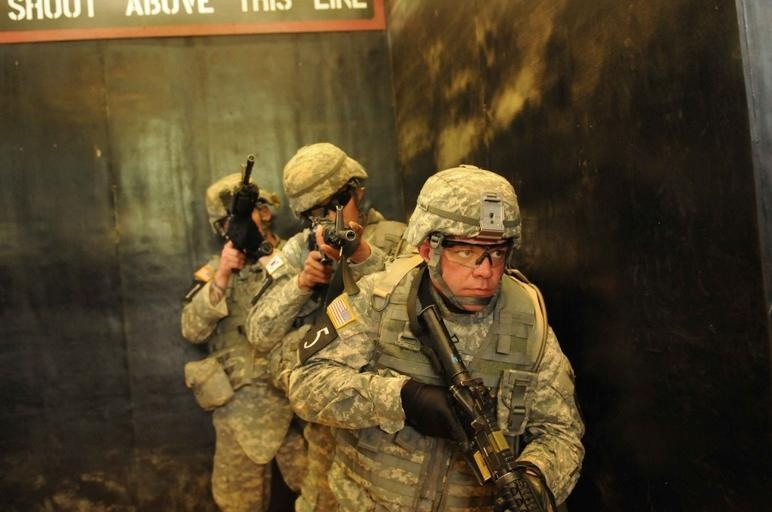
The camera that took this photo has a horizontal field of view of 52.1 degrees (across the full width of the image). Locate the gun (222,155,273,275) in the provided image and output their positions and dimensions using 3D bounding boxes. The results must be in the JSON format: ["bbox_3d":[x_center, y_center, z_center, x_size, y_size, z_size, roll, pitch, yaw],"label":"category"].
[{"bbox_3d":[-0.839,-0.167,4.803,0.348,0.858,0.162,32,48,17],"label":"gun"}]

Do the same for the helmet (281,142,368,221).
[{"bbox_3d":[-0.402,-0.508,4.897,0.561,0.388,0.558,-32,8,2],"label":"helmet"}]

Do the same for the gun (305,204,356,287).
[{"bbox_3d":[-0.326,-0.115,4.521,0.162,0.442,0.696,-11,13,-20],"label":"gun"}]

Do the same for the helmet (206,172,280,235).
[{"bbox_3d":[-0.948,-0.419,5.163,0.469,0.369,0.343,-25,-23,-30],"label":"helmet"}]
